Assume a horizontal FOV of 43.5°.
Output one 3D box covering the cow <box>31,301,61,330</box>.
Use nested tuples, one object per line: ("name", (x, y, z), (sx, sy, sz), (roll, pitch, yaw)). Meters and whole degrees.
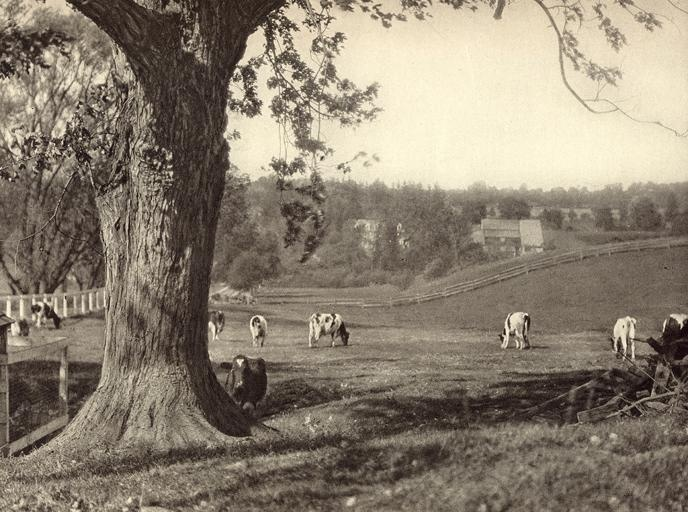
("cow", (-5.206, 1.021, 15.066), (0.476, 0.499, 0.197), (-1, -5, -23))

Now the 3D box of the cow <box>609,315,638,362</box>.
("cow", (4.652, 1.352, 14.275), (0.401, 0.717, 0.317), (-6, -6, 32))

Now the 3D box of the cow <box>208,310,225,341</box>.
("cow", (-2.477, 1.331, 16.584), (0.252, 0.568, 0.638), (0, -6, -33))

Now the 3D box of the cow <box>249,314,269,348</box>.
("cow", (-1.548, 1.356, 15.757), (0.354, 0.607, 0.229), (-2, -5, -9))

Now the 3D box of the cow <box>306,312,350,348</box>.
("cow", (-0.287, 1.302, 15.621), (0.909, 0.816, 0.411), (-1, -2, 5))

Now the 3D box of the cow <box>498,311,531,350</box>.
("cow", (2.873, 1.239, 14.448), (0.541, 0.621, 0.362), (-4, -5, 14))

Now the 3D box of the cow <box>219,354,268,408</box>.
("cow", (-1.692, 2.165, 14.964), (0.739, 0.888, 0.595), (-2, -5, -8))
